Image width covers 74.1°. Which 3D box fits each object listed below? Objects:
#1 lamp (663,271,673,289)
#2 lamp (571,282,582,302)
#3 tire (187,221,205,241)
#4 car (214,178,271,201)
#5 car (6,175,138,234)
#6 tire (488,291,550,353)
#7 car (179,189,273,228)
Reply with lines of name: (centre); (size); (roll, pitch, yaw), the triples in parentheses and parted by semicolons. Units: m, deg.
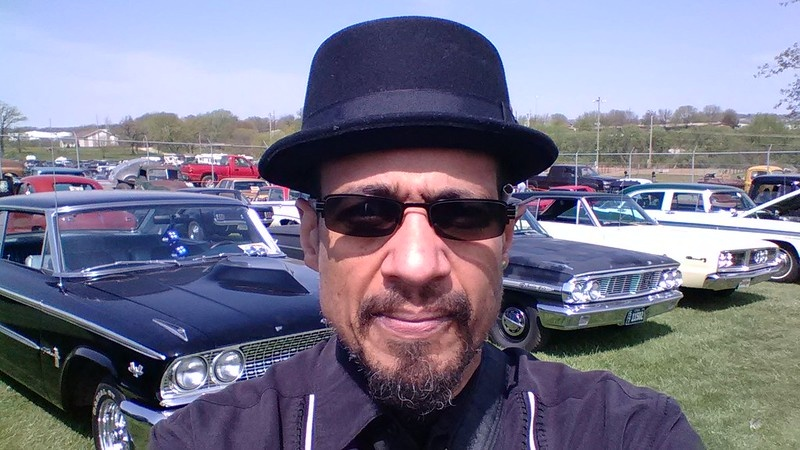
lamp: (4.034, 0.819, 7.965); (0.053, 0.219, 0.231); (6, -5, 33)
lamp: (2.445, 0.932, 7.294); (0.068, 0.234, 0.223); (2, 4, 33)
tire: (-2.467, 0.079, 6.406); (0.179, 0.222, 0.053); (-14, 10, -31)
car: (-5.134, -1.193, 17.562); (1.523, 0.920, 2.775); (-5, 6, -34)
car: (-4.577, -0.296, 7.261); (2.204, 0.778, 0.930); (11, 12, 35)
tire: (1.597, 1.428, 7.765); (0.901, 0.900, 0.299); (23, -18, -15)
car: (-2.612, -0.254, 7.977); (1.377, 0.499, 0.665); (23, 17, 21)
